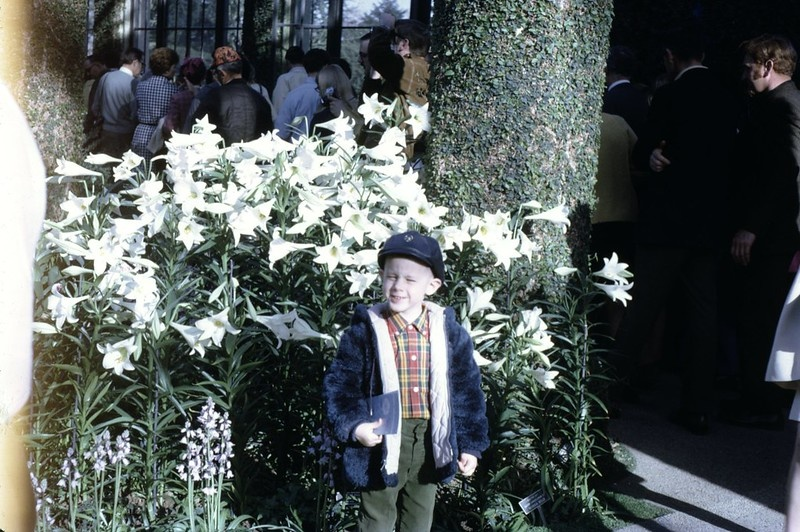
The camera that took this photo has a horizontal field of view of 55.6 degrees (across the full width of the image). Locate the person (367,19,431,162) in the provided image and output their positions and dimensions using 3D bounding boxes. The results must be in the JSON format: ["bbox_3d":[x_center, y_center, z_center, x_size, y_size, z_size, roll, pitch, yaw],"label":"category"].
[{"bbox_3d":[0.004,-1.152,5.003,0.312,0.492,1.116,-8,28,10],"label":"person"}]

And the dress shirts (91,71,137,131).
[{"bbox_3d":[-3.003,-1.746,8.072,0.454,0.502,0.260,22,27,29],"label":"dress shirts"}]

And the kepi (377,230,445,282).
[{"bbox_3d":[0.048,-0.037,3.235,0.278,0.215,0.136,0,7,-2],"label":"kepi"}]

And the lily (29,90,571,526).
[{"bbox_3d":[-0.978,0.172,4.455,2.241,2.093,1.863,-4,6,-11],"label":"lily"}]

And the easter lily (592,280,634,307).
[{"bbox_3d":[1.144,0.144,4.086,0.174,0.155,0.444,3,9,19],"label":"easter lily"}]

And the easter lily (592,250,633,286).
[{"bbox_3d":[1.134,0.009,4.046,0.104,0.214,0.239,13,0,-25],"label":"easter lily"}]

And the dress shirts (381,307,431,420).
[{"bbox_3d":[0.057,0.418,3.231,0.192,0.432,0.090,-1,-1,-9],"label":"dress shirts"}]
